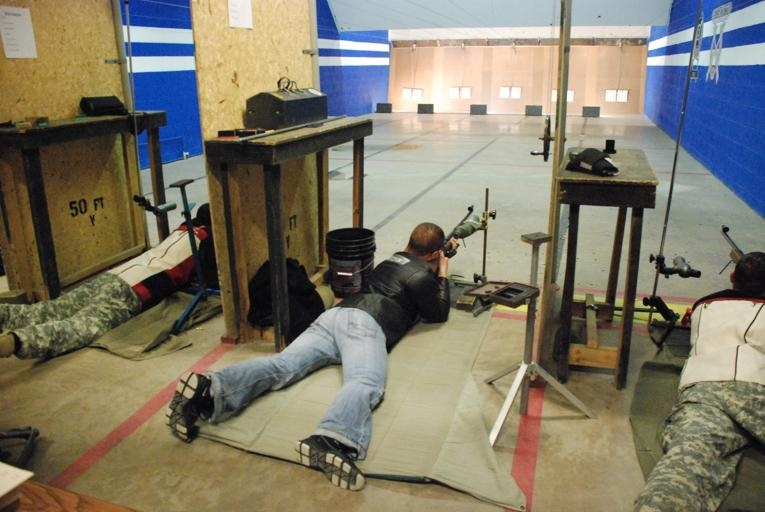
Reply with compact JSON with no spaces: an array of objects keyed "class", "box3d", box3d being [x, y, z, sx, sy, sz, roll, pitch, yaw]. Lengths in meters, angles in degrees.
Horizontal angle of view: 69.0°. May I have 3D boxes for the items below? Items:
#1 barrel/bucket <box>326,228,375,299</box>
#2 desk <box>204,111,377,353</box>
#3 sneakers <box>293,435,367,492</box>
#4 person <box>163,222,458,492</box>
[{"class":"barrel/bucket","box3d":[-0.305,0.031,5.497,0.495,0.504,0.475,1,20,0]},{"class":"desk","box3d":[-0.844,-0.164,4.847,0.687,1.551,1.874,8,24,15]},{"class":"sneakers","box3d":[-0.327,1.299,3.479,0.404,0.129,0.180,25,22,19]},{"class":"person","box3d":[-0.153,0.657,4.353,1.505,0.886,2.464,22,38,26]}]
